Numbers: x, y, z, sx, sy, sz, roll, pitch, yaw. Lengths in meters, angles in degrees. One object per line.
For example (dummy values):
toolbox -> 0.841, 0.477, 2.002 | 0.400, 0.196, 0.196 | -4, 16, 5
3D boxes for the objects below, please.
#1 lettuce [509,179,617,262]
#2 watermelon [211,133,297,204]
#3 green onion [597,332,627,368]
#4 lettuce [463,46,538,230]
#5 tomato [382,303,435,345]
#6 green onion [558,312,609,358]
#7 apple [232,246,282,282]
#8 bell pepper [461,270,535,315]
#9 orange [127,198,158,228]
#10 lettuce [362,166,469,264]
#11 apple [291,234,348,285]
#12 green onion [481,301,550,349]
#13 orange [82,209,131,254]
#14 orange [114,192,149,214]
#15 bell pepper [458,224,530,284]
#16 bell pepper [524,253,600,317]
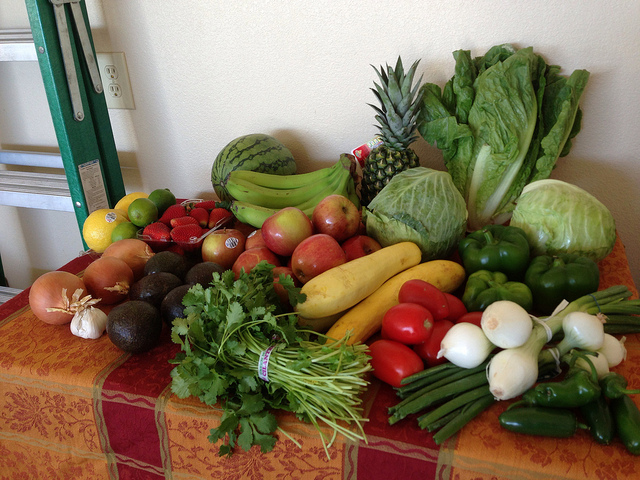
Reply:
lettuce -> 0.653, -0.072, 1.353 | 0.240, 0.196, 0.190 | 15, 29, 31
watermelon -> -0.199, -0.280, 1.640 | 0.244, 0.237, 0.229 | 11, 24, 29
green onion -> 0.605, 0.229, 1.018 | 0.070, 0.080, 0.064 | -1, -16, 24
lettuce -> 0.510, -0.292, 1.465 | 0.208, 0.552, 0.209 | -2, -10, 45
tomato -> 0.188, 0.182, 1.066 | 0.104, 0.070, 0.058 | 8, 31, 13
green onion -> 0.525, 0.185, 0.990 | 0.065, 0.092, 0.090 | 14, 24, 39
apple -> -0.170, 0.047, 1.240 | 0.086, 0.109, 0.090 | 3, 25, -2
bell pepper -> 0.415, 0.119, 1.157 | 0.112, 0.100, 0.120 | 20, 36, 28
orange -> -0.529, -0.086, 1.448 | 0.084, 0.103, 0.087 | -3, 19, -24
lettuce -> 0.282, -0.107, 1.397 | 0.240, 0.263, 0.285 | 3, 22, 18
apple -> -0.009, 0.040, 1.249 | 0.133, 0.116, 0.114 | -30, 35, -11
green onion -> 0.385, 0.162, 0.973 | 0.102, 0.089, 0.105 | 4, 21, 35
orange -> -0.641, -0.025, 1.500 | 0.124, 0.134, 0.133 | -3, 2, -18
orange -> -0.602, -0.102, 1.577 | 0.086, 0.053, 0.065 | -15, 31, -10
bell pepper -> 0.449, 0.027, 1.256 | 0.146, 0.167, 0.152 | -8, 16, 39
bell pepper -> 0.559, 0.089, 1.194 | 0.193, 0.148, 0.188 | 7, 22, 27
